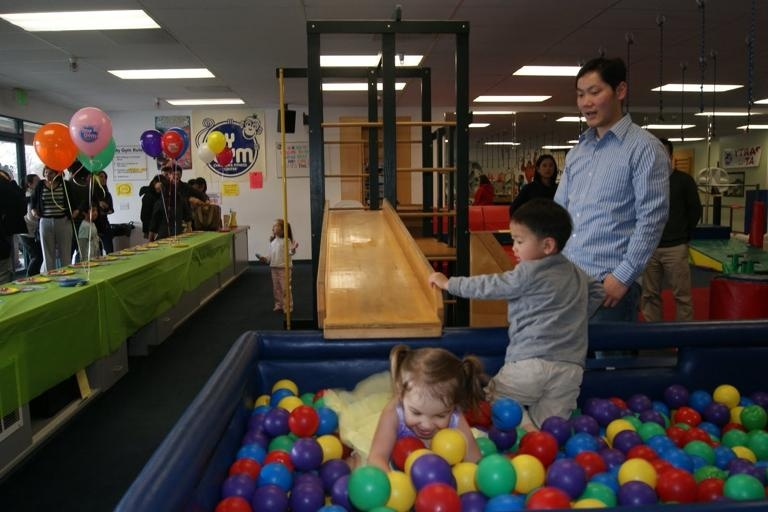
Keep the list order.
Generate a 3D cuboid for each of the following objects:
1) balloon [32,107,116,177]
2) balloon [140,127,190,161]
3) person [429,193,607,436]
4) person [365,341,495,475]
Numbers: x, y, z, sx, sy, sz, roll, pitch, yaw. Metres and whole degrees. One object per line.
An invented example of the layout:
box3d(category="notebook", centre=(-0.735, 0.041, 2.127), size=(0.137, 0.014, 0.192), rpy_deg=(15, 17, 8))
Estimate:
box3d(category="balloon", centre=(-3.061, -1.173, 5.452), size=(0.692, 0.592, 0.548), rpy_deg=(-5, 11, -6))
box3d(category="balloon", centre=(-2.947, -1.493, 7.332), size=(0.565, 0.379, 0.384), rpy_deg=(-9, 12, -24))
box3d(category="person", centre=(0.888, 0.412, 3.549), size=(1.266, 1.747, 0.849), rpy_deg=(-9, 17, -25))
box3d(category="person", centre=(0.246, 0.775, 3.100), size=(0.571, 0.752, 0.682), rpy_deg=(0, 48, -1))
